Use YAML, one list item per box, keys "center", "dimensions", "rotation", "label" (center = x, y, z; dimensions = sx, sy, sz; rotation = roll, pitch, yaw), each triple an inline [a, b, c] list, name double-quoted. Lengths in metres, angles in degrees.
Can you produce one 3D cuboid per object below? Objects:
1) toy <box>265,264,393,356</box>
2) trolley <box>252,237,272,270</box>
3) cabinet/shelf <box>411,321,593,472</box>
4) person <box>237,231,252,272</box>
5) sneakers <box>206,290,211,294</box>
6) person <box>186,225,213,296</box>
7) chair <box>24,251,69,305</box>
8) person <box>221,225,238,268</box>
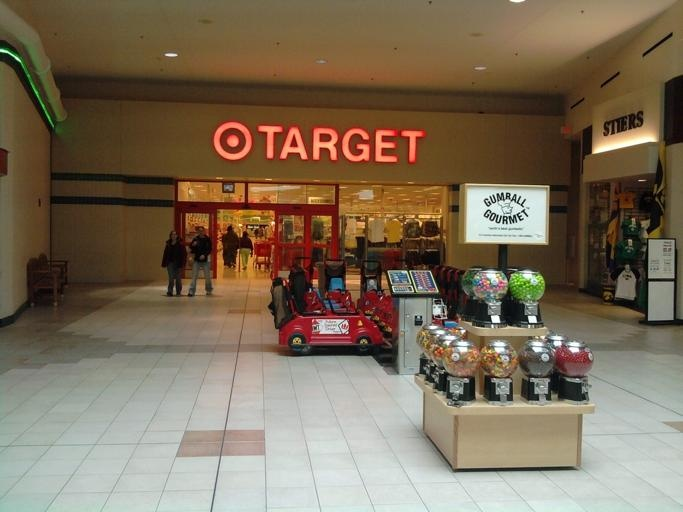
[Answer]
- center: [-0.261, 0.812, 8.038]
  dimensions: [1.634, 1.354, 1.108]
  rotation: [1, 0, -4]
  label: "toy"
- center: [-2.689, -0.021, 17.981]
  dimensions: [0.577, 1.089, 1.005]
  rotation: [0, 3, -12]
  label: "trolley"
- center: [1.295, 1.001, 4.411]
  dimensions: [1.101, 1.061, 1.141]
  rotation: [0, 0, -3]
  label: "cabinet/shelf"
- center: [-3.260, -0.147, 17.945]
  dimensions: [0.495, 1.450, 1.179]
  rotation: [0, 3, -11]
  label: "person"
- center: [-3.430, 0.943, 13.661]
  dimensions: [0.112, 0.091, 0.150]
  rotation: [-7, -6, -6]
  label: "sneakers"
- center: [-3.544, 0.143, 13.278]
  dimensions: [0.716, 1.725, 0.564]
  rotation: [4, -8, -34]
  label: "person"
- center: [-6.628, 0.529, 11.798]
  dimensions: [0.920, 1.517, 1.013]
  rotation: [0, 2, -7]
  label: "chair"
- center: [-3.714, -0.285, 17.705]
  dimensions: [0.540, 1.451, 0.945]
  rotation: [0, 3, -11]
  label: "person"
